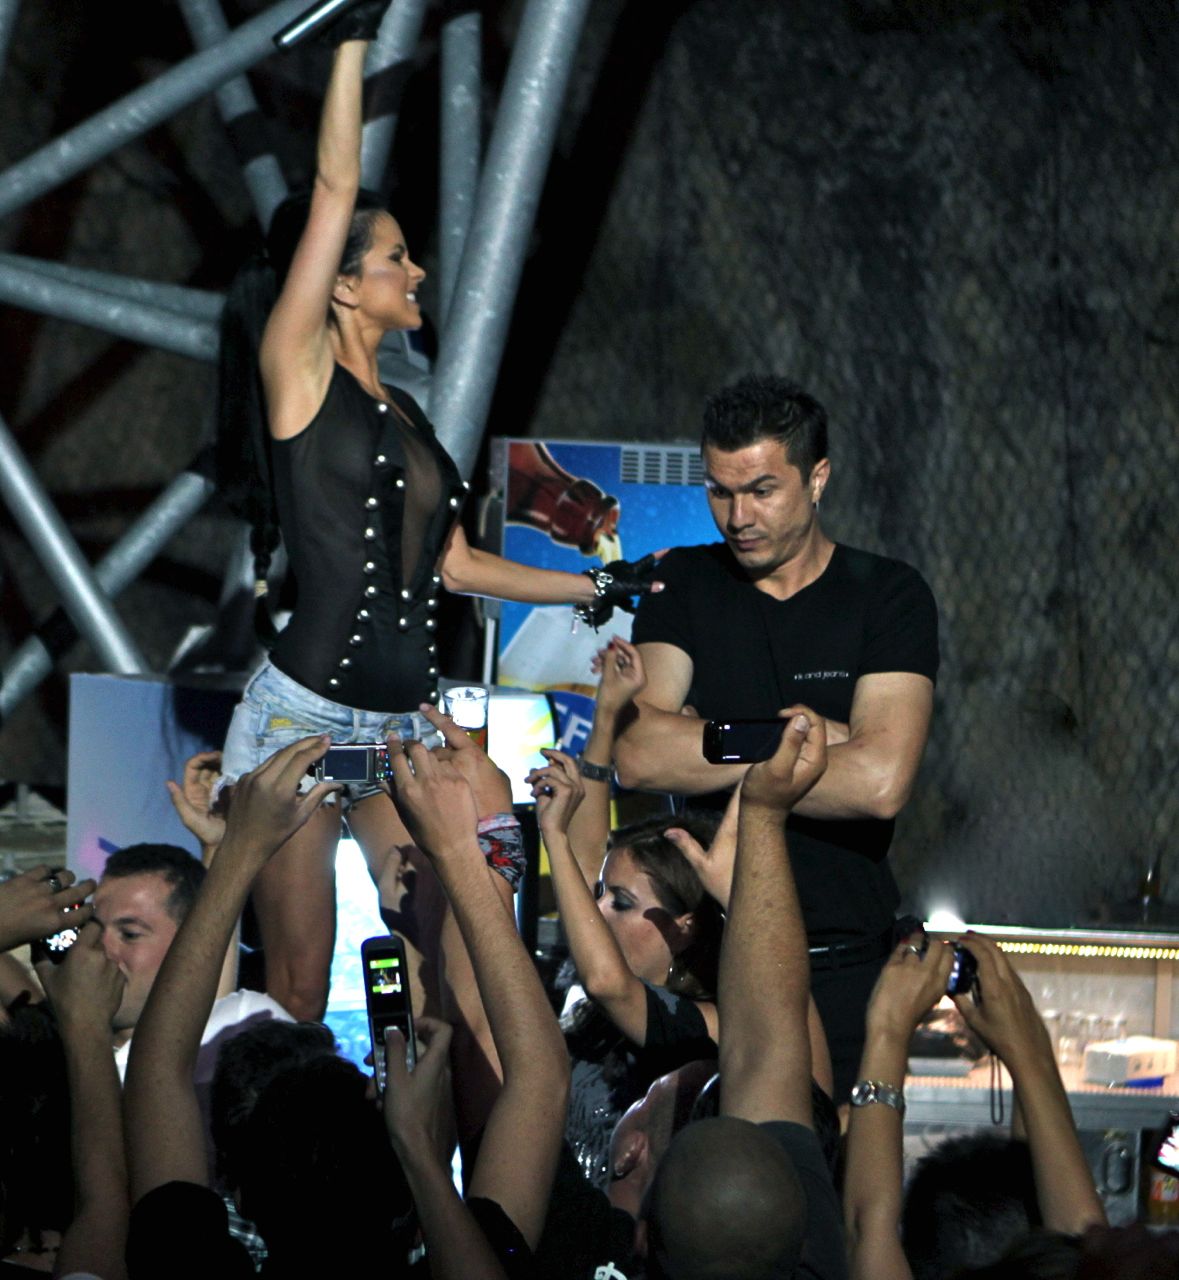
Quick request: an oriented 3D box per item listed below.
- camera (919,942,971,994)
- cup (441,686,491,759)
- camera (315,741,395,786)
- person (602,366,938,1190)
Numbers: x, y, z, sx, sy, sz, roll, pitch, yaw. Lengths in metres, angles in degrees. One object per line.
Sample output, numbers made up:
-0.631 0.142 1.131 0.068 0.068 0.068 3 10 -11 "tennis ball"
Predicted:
0.513 0.470 2.142 0.046 0.068 0.067 4 -1 9 "camera"
-0.305 0.208 3.882 0.164 0.193 0.177 -1 8 0 "cup"
-0.396 0.215 2.549 0.162 0.088 0.042 -2 6 -30 "camera"
0.362 0.501 3.084 0.657 1.970 0.589 13 18 36 "person"
